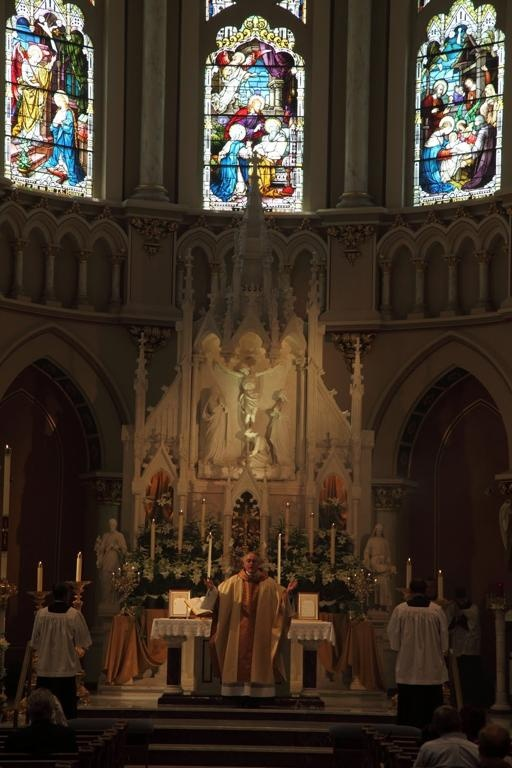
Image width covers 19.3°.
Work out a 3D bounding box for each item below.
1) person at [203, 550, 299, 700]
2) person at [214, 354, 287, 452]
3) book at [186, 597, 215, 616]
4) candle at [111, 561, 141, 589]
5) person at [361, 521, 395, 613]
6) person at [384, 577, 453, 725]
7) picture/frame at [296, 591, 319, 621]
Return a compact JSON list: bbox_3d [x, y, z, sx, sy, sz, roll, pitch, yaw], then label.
[{"bbox_3d":[-0.072,2.233,13.803,0.684,1.417,0.422,2,-32,-1],"label":"person"},{"bbox_3d":[-0.051,0.323,16.842,0.706,1.145,0.280,2,-6,-7],"label":"person"},{"bbox_3d":[-0.558,2.087,14.126,0.196,0.087,0.230,3,5,0],"label":"book"},{"bbox_3d":[-1.357,1.965,15.561,0.245,0.395,0.251,1,2,-23],"label":"candle"},{"bbox_3d":[1.304,1.933,16.072,0.331,0.842,0.418,1,-7,2],"label":"person"},{"bbox_3d":[1.321,2.242,12.341,0.447,1.390,0.454,2,15,7],"label":"person"},{"bbox_3d":[0.479,2.100,14.183,0.251,0.317,0.031,4,-27,-1],"label":"picture/frame"}]
